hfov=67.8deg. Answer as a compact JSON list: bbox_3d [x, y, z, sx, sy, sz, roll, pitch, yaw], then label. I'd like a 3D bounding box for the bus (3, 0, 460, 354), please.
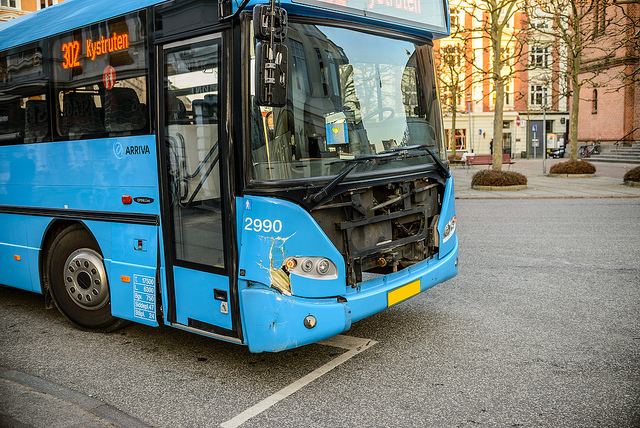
[{"bbox_3d":[-1.360,-0.609,6.250,6.006,4.543,2.279,2,11,19],"label":"bus"}]
